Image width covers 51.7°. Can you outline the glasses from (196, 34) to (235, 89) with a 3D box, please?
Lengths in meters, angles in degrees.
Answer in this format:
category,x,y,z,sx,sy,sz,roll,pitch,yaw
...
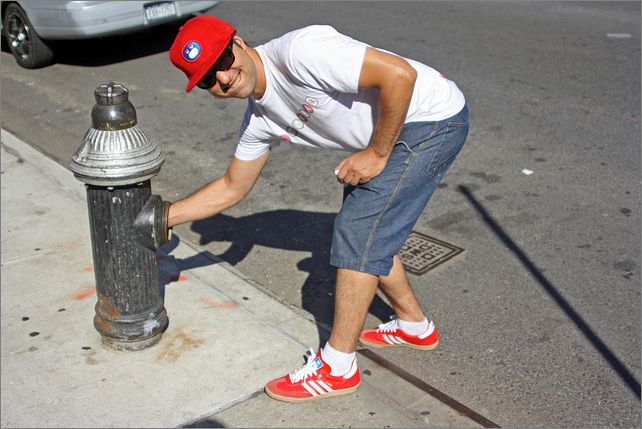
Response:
category,x,y,z,sx,sy,sz,roll,pitch,yaw
glasses,-0.668,-0.966,4.140,0.132,0.266,0.169,30,50,8

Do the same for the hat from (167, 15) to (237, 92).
category,x,y,z,sx,sy,sz,roll,pitch,yaw
hat,-0.795,-1.085,4.236,0.304,0.411,0.598,38,25,-29

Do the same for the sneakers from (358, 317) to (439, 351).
category,x,y,z,sx,sy,sz,roll,pitch,yaw
sneakers,0.543,0.877,4.974,0.690,0.254,0.226,2,18,7
